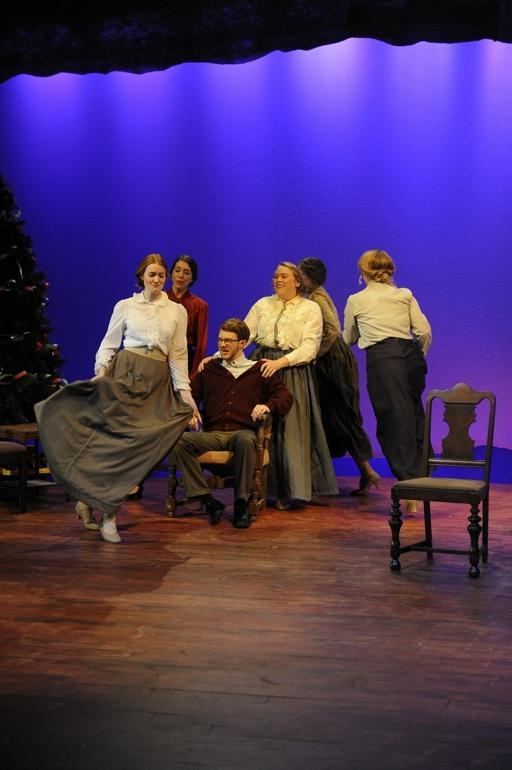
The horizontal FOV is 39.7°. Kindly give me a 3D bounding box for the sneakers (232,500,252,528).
[{"bbox_3d":[-0.086,0.742,4.129,0.096,0.158,0.147,1,-1,-2],"label":"sneakers"}]

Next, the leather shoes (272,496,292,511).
[{"bbox_3d":[0.179,0.806,4.830,0.090,0.078,0.225,0,-10,-13],"label":"leather shoes"}]

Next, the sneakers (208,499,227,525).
[{"bbox_3d":[-0.241,0.752,4.258,0.152,0.172,0.064,4,-11,-3],"label":"sneakers"}]

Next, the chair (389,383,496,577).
[{"bbox_3d":[0.979,0.433,3.750,0.505,0.832,1.514,0,-1,17],"label":"chair"}]

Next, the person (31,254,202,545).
[{"bbox_3d":[-0.726,-0.029,3.759,0.836,1.366,0.418,1,-1,-18],"label":"person"}]

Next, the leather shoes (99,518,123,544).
[{"bbox_3d":[-0.752,0.743,3.657,0.116,0.127,0.118,1,-1,-7],"label":"leather shoes"}]
